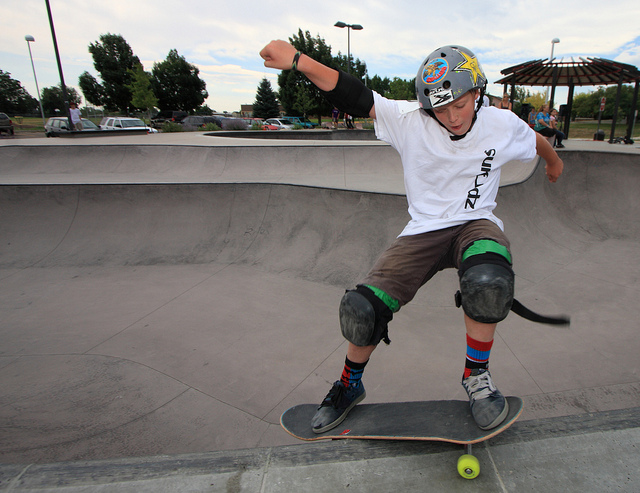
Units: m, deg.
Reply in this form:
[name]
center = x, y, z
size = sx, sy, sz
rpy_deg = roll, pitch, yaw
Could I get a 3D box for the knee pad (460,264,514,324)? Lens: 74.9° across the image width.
[knee pad]
center = 0.991, 0.281, 2.475
size = 0.289, 0.340, 0.139
rpy_deg = 8, -4, 5

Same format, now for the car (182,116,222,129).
[car]
center = -9.047, -9.552, 31.928
size = 2.085, 0.761, 4.027
rpy_deg = 1, 17, 10
